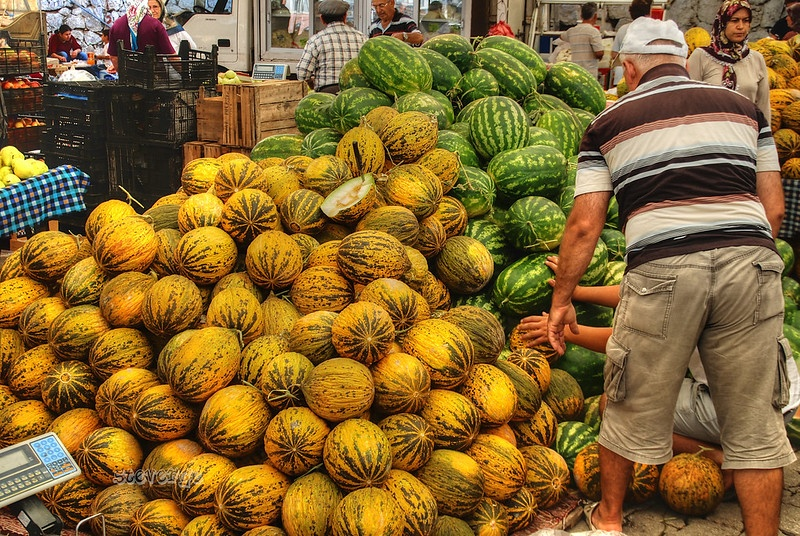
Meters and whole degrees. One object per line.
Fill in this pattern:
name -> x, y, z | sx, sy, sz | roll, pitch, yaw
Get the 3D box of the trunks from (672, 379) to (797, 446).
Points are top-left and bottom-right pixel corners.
trunks -> 1.989, 0.862, 4.330 | 0.532, 0.533, 0.208 | 10, 15, -26

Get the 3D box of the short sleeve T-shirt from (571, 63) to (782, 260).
short sleeve T-shirt -> 1.556, -0.576, 3.987 | 1.076, 1.123, 0.487 | 7, 15, 12

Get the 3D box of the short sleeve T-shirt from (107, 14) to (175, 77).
short sleeve T-shirt -> -3.832, -3.408, 10.328 | 0.990, 0.815, 0.484 | -6, 45, -21

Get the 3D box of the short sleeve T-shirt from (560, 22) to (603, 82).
short sleeve T-shirt -> 2.970, -3.643, 11.626 | 0.806, 1.004, 0.500 | 20, 47, 34
